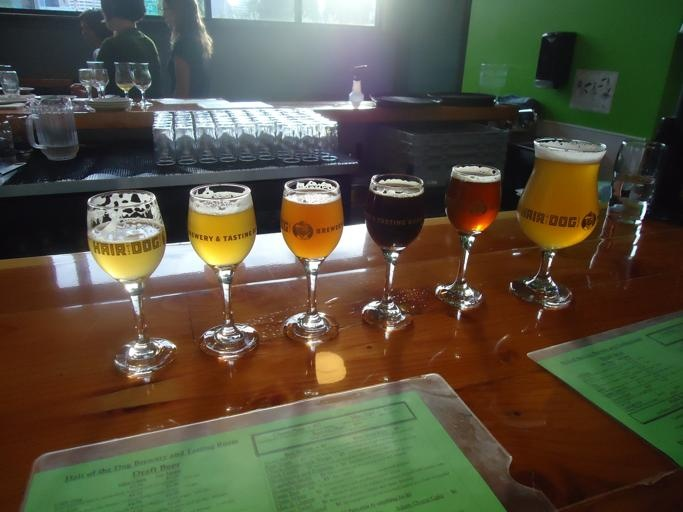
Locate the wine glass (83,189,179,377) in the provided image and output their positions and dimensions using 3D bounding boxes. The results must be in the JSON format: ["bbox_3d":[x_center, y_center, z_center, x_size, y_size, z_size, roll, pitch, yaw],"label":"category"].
[{"bbox_3d":[-0.349,0.029,0.824,0.115,0.261,0.230,-11,29,-23],"label":"wine glass"}]

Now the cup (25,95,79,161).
[{"bbox_3d":[-1.347,-0.577,2.281,0.191,0.263,0.124,-10,29,-21],"label":"cup"}]
